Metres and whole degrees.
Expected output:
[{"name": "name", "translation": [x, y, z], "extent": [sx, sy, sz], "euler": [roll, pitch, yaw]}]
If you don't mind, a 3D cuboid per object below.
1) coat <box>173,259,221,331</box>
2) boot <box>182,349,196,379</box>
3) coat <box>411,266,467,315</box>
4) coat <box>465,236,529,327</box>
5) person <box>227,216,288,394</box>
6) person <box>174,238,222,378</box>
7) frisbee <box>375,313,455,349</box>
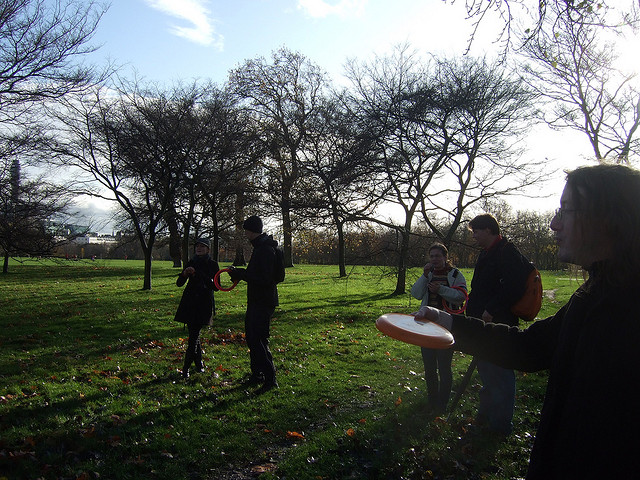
[{"name": "coat", "translation": [-2.252, 0.977, 8.009], "extent": [0.754, 1.193, 0.643], "euler": [4, -2, -17]}, {"name": "boot", "translation": [-2.433, 2.273, 8.108], "extent": [0.210, 0.511, 0.319], "euler": [4, -2, -15]}, {"name": "coat", "translation": [1.775, 0.810, 6.472], "extent": [0.769, 0.938, 0.622], "euler": [7, 1, 35]}, {"name": "coat", "translation": [2.441, 0.602, 6.122], "extent": [0.628, 1.262, 1.149], "euler": [14, -8, 15]}, {"name": "person", "translation": [-1.040, 1.079, 7.436], "extent": [0.846, 2.584, 0.576], "euler": [4, -2, -10]}, {"name": "person", "translation": [-2.268, 1.257, 7.999], "extent": [0.750, 2.406, 0.576], "euler": [4, -2, -16]}, {"name": "frisbee", "translation": [0.645, 0.612, 2.875], "extent": [0.332, 0.063, 0.306], "euler": [17, 4, -18]}]
